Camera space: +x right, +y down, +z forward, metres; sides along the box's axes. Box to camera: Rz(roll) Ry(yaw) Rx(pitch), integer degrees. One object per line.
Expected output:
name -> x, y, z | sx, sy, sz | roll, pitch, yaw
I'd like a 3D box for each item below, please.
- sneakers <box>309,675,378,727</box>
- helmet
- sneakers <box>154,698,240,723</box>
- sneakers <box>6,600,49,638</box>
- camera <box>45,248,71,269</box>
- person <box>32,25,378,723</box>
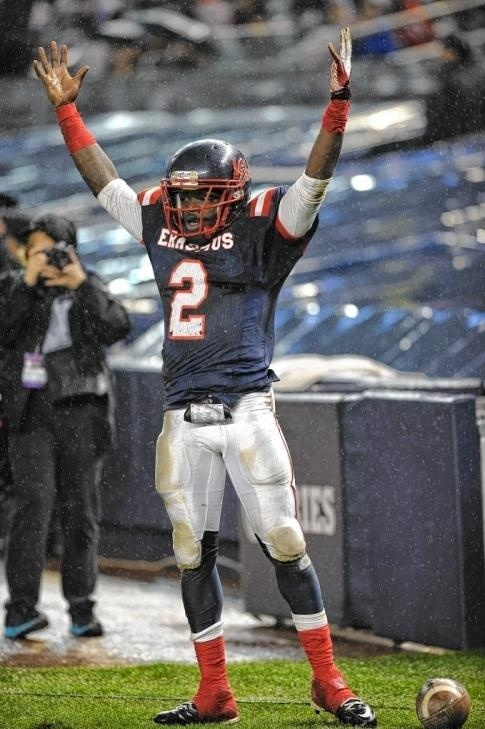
sneakers -> 0.252, 0.846, 2.563 | 0.076, 0.104, 0.221 | -22, 19, -33
helmet -> -0.095, -0.476, 2.702 | 0.231, 0.243, 0.281 | 6, 21, 26
sneakers -> -0.117, 0.890, 2.586 | 0.212, 0.073, 0.073 | 3, -9, 0
sneakers -> -0.727, 0.856, 3.389 | 0.133, 0.108, 0.097 | -9, 1, -2
camera -> -0.641, -0.365, 3.468 | 0.070, 0.077, 0.032 | 0, -11, -3
person -> -0.077, 0.047, 2.658 | 0.873, 1.746, 0.451 | 0, 7, 12
